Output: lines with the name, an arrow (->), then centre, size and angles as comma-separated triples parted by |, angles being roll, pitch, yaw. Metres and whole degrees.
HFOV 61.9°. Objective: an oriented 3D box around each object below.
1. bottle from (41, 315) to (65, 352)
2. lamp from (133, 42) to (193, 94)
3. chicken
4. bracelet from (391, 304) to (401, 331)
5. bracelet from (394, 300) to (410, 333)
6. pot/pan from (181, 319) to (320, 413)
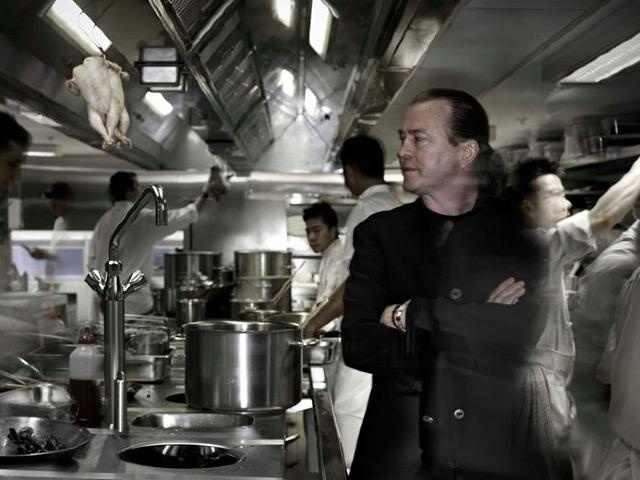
bottle -> -0.917, 0.319, 1.829 | 0.040, 0.121, 0.136 | 4, 6, -6
lamp -> -0.480, -0.519, 1.606 | 0.154, 0.123, 0.099 | 0, 5, -4
chicken -> -0.629, -0.393, 1.518 | 0.171, 0.257, 0.159 | 1, 7, -27
bracelet -> 0.171, 0.172, 1.199 | 0.019, 0.042, 0.034 | 1, -9, 2
bracelet -> 0.181, 0.171, 1.195 | 0.025, 0.058, 0.048 | 6, 0, 9
pot/pan -> -0.194, 0.380, 1.597 | 0.440, 0.235, 0.309 | 2, -2, 4
